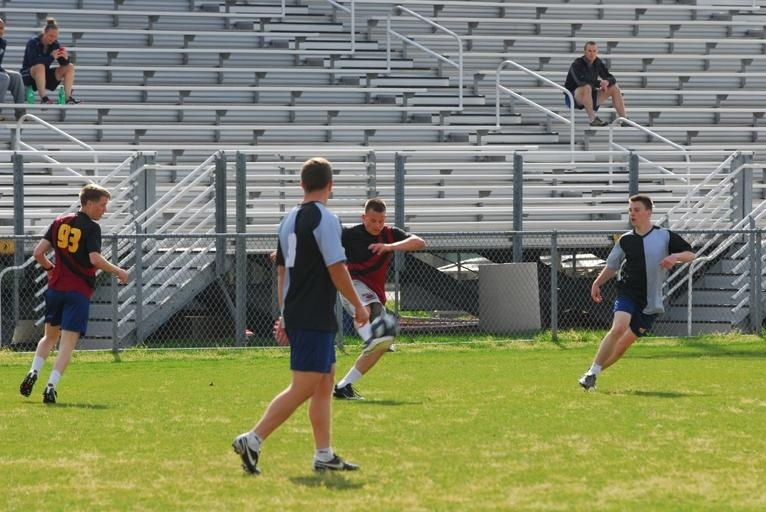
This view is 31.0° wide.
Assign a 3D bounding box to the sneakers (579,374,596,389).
[{"bbox_3d":[3.083,1.870,20.794,0.275,0.200,0.202,7,-7,6],"label":"sneakers"}]

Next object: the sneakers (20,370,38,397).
[{"bbox_3d":[-5.282,1.884,20.496,0.161,0.396,0.205,29,2,5],"label":"sneakers"}]

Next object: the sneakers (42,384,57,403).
[{"bbox_3d":[-4.879,1.981,20.088,0.144,0.306,0.153,1,31,-5],"label":"sneakers"}]

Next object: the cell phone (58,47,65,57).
[{"bbox_3d":[-6.548,-4.097,27.934,0.166,0.131,0.132,-10,-8,40],"label":"cell phone"}]

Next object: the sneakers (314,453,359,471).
[{"bbox_3d":[-0.637,2.655,17.960,0.634,0.222,0.204,0,-3,-10],"label":"sneakers"}]

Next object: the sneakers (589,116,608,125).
[{"bbox_3d":[4.714,-2.915,30.068,0.362,0.144,0.197,-1,6,-9],"label":"sneakers"}]

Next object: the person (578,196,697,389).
[{"bbox_3d":[3.853,0.550,20.974,1.510,2.250,0.744,2,-1,7],"label":"person"}]

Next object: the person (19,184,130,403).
[{"bbox_3d":[-4.594,0.543,20.219,1.398,2.977,0.643,2,-1,28],"label":"person"}]
